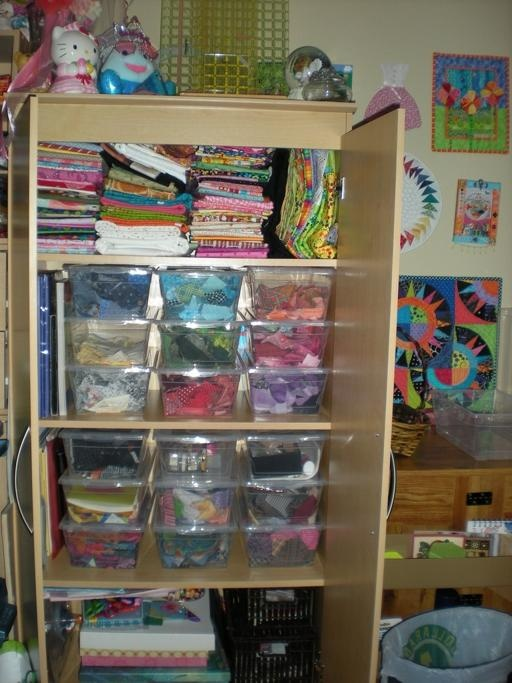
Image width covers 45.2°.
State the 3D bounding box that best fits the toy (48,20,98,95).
[{"bbox_3d":[-0.489,-0.761,1.649,0.132,0.204,0.176,-3,13,-12],"label":"toy"}]

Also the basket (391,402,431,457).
[{"bbox_3d":[0.491,0.296,2.028,0.151,0.108,0.169,4,1,2],"label":"basket"}]

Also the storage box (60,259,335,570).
[{"bbox_3d":[-0.168,0.203,1.758,0.997,0.988,0.343,1,8,0],"label":"storage box"}]

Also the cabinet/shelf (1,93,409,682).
[{"bbox_3d":[-0.161,0.179,1.659,1.029,1.623,0.497,2,13,12],"label":"cabinet/shelf"}]

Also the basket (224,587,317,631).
[{"bbox_3d":[0.044,0.797,1.846,0.227,0.066,0.138,1,-29,1],"label":"basket"}]
